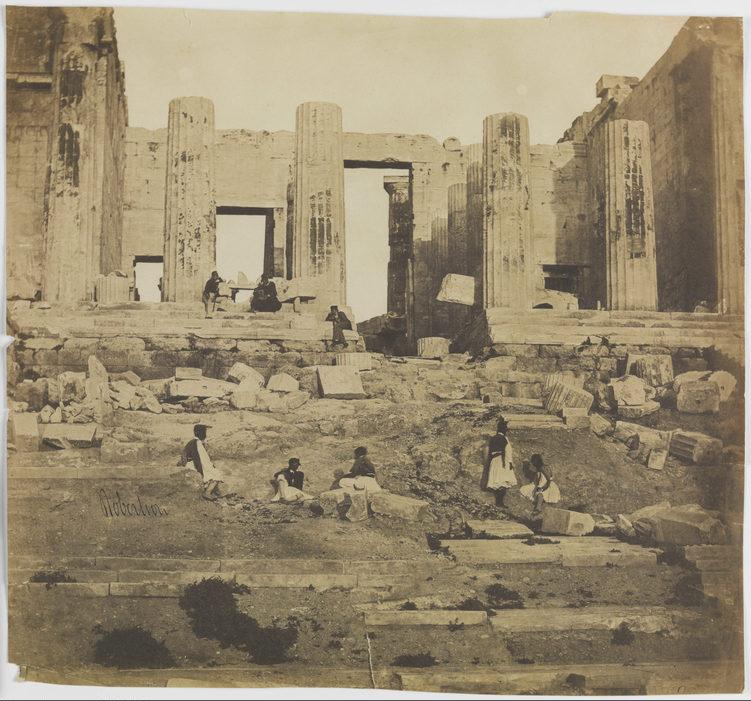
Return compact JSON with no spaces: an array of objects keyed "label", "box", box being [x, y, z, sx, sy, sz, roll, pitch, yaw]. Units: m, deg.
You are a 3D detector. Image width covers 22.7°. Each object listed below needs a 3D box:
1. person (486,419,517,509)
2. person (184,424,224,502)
[{"label":"person","box":[1.322,1.169,19.432,0.326,0.894,0.182,3,0,4]},{"label":"person","box":[-1.741,1.126,19.284,0.427,0.728,0.151,3,0,20]}]
